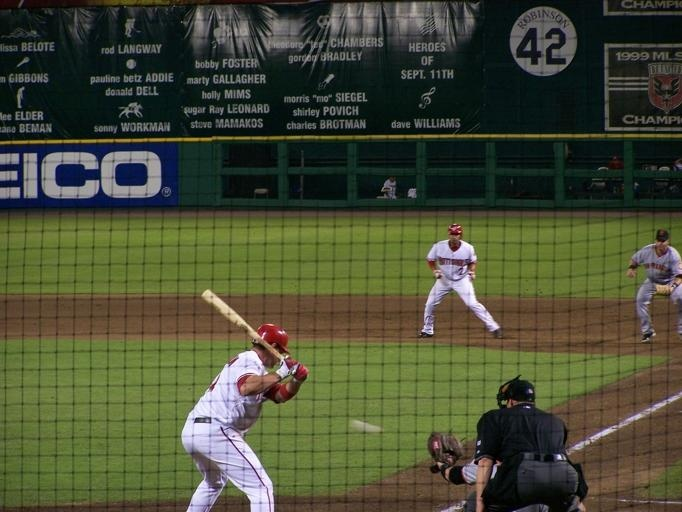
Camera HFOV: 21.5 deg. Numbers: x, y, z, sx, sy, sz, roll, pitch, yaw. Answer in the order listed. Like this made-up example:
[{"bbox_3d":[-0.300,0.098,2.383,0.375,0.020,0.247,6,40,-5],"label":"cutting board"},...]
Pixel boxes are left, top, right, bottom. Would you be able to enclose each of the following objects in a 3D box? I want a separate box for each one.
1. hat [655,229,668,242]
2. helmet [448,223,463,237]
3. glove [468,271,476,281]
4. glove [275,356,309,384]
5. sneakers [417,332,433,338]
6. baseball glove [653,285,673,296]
[{"bbox_3d":[8.149,-0.491,45.255,0.271,0.299,0.325,-1,-1,-1],"label":"hat"},{"bbox_3d":[2.974,-0.648,46.326,0.296,0.209,0.443,2,0,10],"label":"helmet"},{"bbox_3d":[3.401,0.542,46.021,0.200,0.090,0.250,2,-37,22],"label":"glove"},{"bbox_3d":[-1.108,2.556,39.252,0.705,0.471,0.310,3,-48,-35],"label":"glove"},{"bbox_3d":[2.194,2.017,46.001,0.378,0.138,0.209,-3,-2,-2],"label":"sneakers"},{"bbox_3d":[8.158,0.855,45.195,0.461,0.268,0.457,-3,-2,2],"label":"baseball glove"}]
